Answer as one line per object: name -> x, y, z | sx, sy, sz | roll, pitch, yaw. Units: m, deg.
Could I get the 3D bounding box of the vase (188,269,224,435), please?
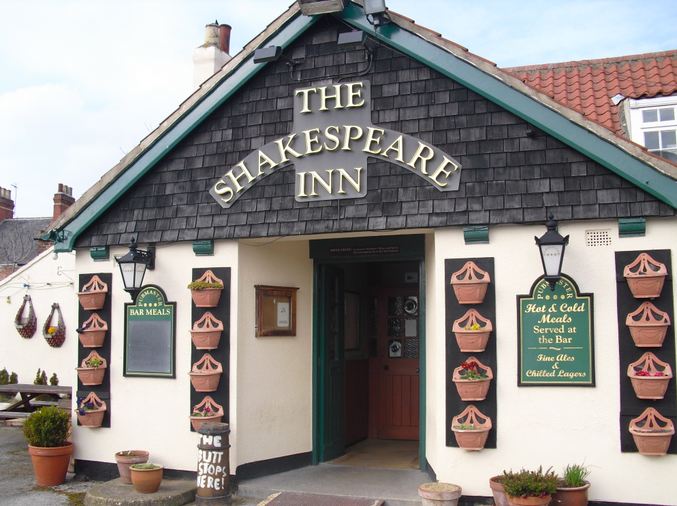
vase -> -1.942, 1.407, 12.633 | 0.548, 2.358, 0.364 | -1, -7, 5

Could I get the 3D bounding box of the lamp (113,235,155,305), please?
lamp -> -3.040, 0.223, 12.904 | 0.388, 0.973, 0.563 | -2, -7, 12

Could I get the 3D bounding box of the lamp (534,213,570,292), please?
lamp -> 2.812, -0.042, 11.289 | 0.372, 0.929, 0.386 | -4, -7, 27

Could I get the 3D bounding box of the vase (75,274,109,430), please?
vase -> -3.806, 1.505, 13.248 | 0.589, 2.407, 0.250 | -3, -7, 18

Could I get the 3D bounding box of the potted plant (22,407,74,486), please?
potted plant -> -4.309, 2.964, 13.040 | 0.865, 1.100, 0.788 | -2, -9, 0

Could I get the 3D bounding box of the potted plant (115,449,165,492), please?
potted plant -> -2.852, 3.167, 12.354 | 0.573, 0.514, 0.873 | 2, -7, -25
